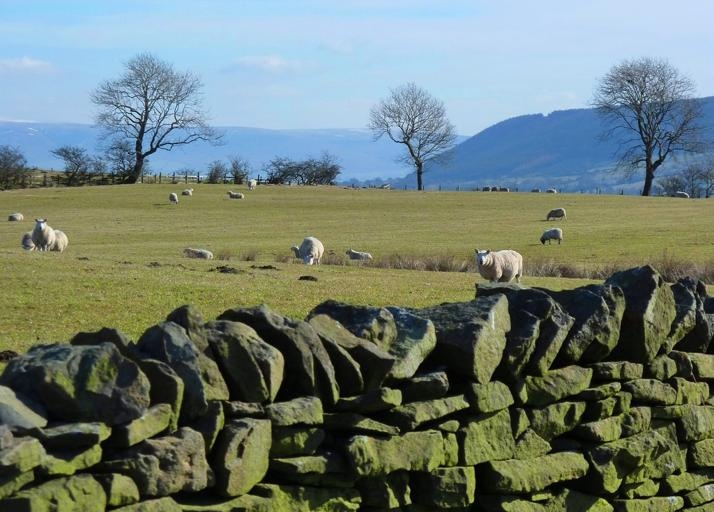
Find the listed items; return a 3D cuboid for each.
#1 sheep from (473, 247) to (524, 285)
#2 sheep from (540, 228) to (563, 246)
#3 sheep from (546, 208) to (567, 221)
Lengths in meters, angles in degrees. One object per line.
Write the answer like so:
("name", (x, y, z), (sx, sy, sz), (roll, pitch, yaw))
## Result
("sheep", (3.797, 0.362, 25.410), (0.717, 1.032, 1.972), (-4, -6, 38))
("sheep", (8.531, -0.866, 41.592), (0.982, 0.674, 2.467), (3, 3, 11))
("sheep", (11.423, -2.376, 54.362), (1.084, 0.668, 1.794), (3, 3, 10))
